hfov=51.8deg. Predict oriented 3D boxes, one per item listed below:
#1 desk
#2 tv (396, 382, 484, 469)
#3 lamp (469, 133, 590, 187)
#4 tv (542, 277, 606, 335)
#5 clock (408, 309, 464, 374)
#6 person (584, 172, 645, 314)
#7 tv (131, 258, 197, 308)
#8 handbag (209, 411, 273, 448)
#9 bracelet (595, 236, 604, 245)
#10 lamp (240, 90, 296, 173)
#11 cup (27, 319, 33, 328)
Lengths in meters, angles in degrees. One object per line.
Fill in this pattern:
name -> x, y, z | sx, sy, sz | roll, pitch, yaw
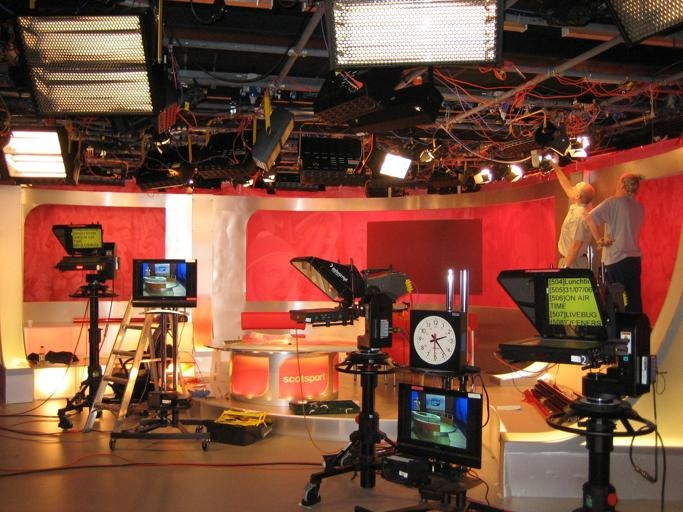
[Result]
desk -> -0.608, 1.564, 9.487 | 2.291, 0.804, 2.149 | -4, -9, 27
tv -> 0.846, 1.487, 6.124 | 0.902, 0.657, 0.122 | 2, -2, 28
lamp -> 2.716, -1.395, 9.754 | 1.193, 0.295, 0.621 | -24, 1, -6
tv -> 1.867, 0.388, 5.639 | 0.486, 0.509, 0.161 | -3, -4, 36
clock -> 0.832, 0.729, 6.189 | 0.500, 0.516, 0.307 | 2, 14, 14
person -> 3.268, -0.063, 8.186 | 0.543, 1.246, 0.909 | -3, 14, -6
tv -> -2.169, 0.331, 8.564 | 0.645, 0.443, 0.117 | 0, -7, 2
handbag -> -1.197, 1.987, 8.235 | 0.588, 0.298, 0.549 | 4, 14, 22
bracelet -> 3.094, -0.198, 8.374 | 0.106, 0.096, 0.089 | 5, -9, -24
lamp -> -0.812, -1.387, 7.878 | 0.490, 0.821, 0.314 | 34, 12, 36
cup -> -5.038, 1.076, 11.333 | 0.075, 0.068, 0.106 | 6, -2, -13
